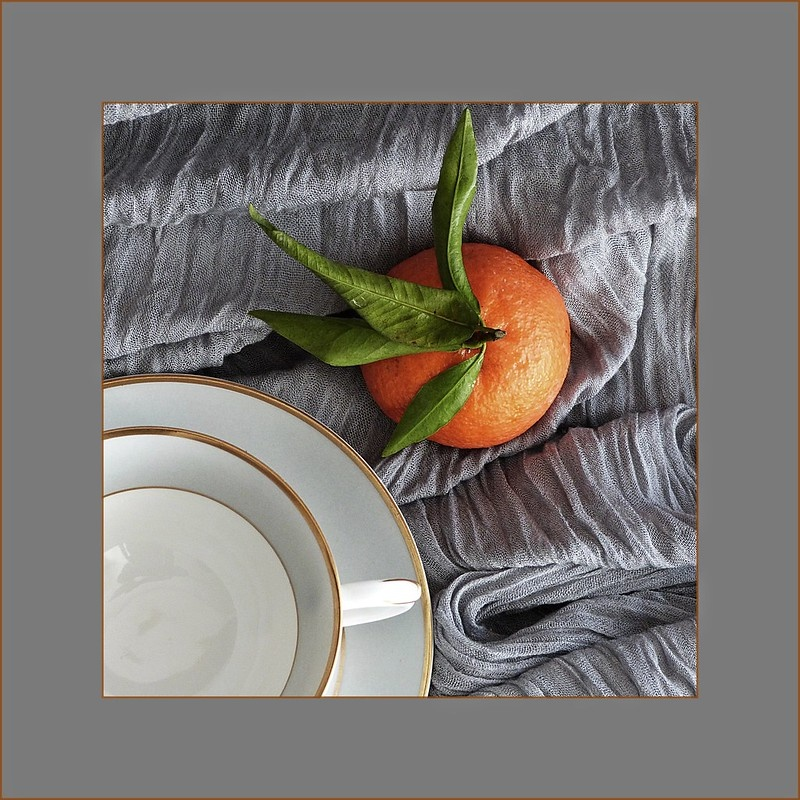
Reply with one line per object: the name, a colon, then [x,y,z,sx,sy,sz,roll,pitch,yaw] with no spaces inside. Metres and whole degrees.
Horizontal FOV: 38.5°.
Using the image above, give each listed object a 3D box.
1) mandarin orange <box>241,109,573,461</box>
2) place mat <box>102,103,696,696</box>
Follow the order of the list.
mandarin orange: [0.003,-0.077,0.760,0.198,0.217,0.089,22,-1,-22]
place mat: [0.038,-0.060,0.900,0.315,0.469,0.091,-1,3,-2]
